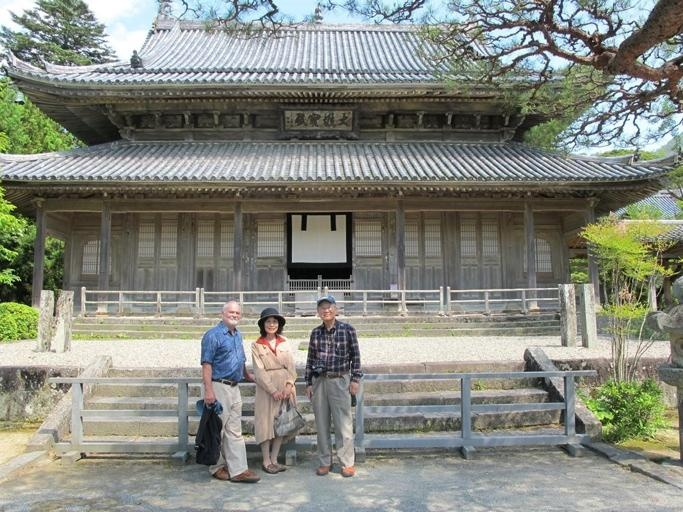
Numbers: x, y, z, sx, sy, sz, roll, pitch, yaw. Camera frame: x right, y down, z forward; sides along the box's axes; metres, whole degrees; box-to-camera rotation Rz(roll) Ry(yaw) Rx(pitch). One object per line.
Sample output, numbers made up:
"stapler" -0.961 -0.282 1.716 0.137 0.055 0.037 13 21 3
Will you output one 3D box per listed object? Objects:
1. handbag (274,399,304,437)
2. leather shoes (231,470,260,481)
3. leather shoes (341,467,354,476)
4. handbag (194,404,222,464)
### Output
"handbag" -0.811 2.492 9.399 0.432 0.630 0.280 -2 12 -6
"leather shoes" -1.483 3.216 9.195 0.514 0.193 0.158 -1 -7 1
"leather shoes" 0.086 3.173 9.274 0.222 0.135 0.194 0 11 -1
"handbag" -1.967 2.614 9.138 0.349 0.928 0.279 2 12 12
